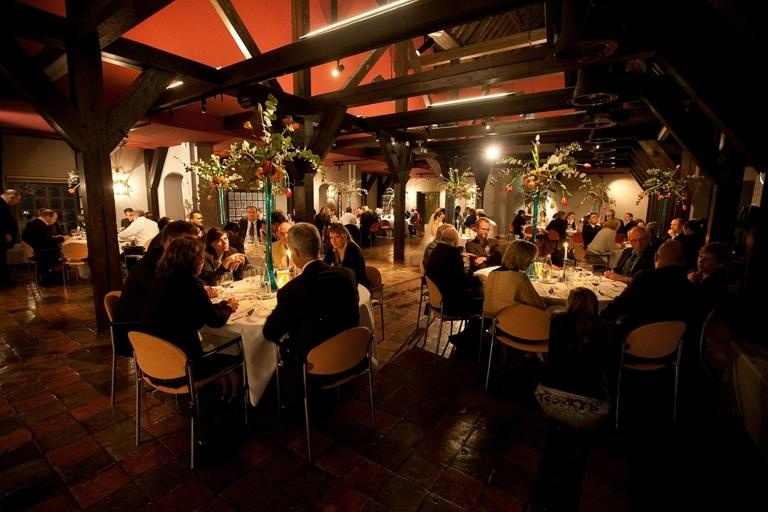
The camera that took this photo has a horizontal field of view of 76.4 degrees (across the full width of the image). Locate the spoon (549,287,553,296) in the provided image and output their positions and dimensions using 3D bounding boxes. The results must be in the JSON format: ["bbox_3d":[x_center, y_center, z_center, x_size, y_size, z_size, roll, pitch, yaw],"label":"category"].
[{"bbox_3d":[1.985,0.417,5.781,0.053,0.066,0.068,2,-17,4],"label":"spoon"}]

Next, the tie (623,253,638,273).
[{"bbox_3d":[3.390,0.107,6.674,0.075,0.222,0.126,18,-1,-8],"label":"tie"}]

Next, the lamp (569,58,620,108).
[{"bbox_3d":[2.276,-1.886,5.442,0.494,0.533,0.477,-1,2,-1],"label":"lamp"}]

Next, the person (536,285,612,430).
[{"bbox_3d":[1.910,0.994,4.841,0.684,1.336,0.292,6,11,26],"label":"person"}]

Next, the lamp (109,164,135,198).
[{"bbox_3d":[-6.696,-1.881,12.317,0.237,0.734,0.501,6,10,26],"label":"lamp"}]
